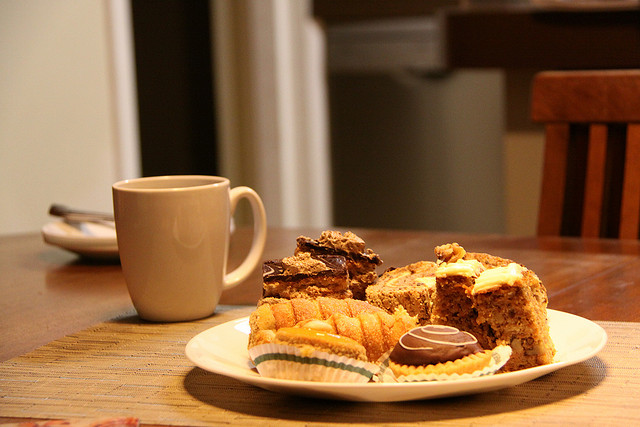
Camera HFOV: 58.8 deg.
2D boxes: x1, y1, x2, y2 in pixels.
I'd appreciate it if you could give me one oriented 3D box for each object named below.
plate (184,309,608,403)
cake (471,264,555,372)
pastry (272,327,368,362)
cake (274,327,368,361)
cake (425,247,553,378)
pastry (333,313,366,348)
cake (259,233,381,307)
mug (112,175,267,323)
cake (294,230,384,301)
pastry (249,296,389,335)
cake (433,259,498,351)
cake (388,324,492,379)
[{"bbox_3d":[0.055,0.150,0.777,0.485,0.086,0.314,-5,6,-22],"label":"plate"},{"bbox_3d":[0.278,0.149,0.848,0.130,0.134,0.121,1,3,17],"label":"cake"},{"bbox_3d":[-0.002,0.164,0.709,0.114,0.036,0.052,-3,12,-5],"label":"pastry"},{"bbox_3d":[0.001,0.155,0.743,0.115,0.038,0.080,-1,6,14],"label":"cake"},{"bbox_3d":[0.248,0.133,0.851,0.123,0.129,0.212,-17,16,-29],"label":"cake"},{"bbox_3d":[0.037,0.152,0.752,0.048,0.036,0.040,11,19,10],"label":"pastry"},{"bbox_3d":[0.014,0.087,0.920,0.128,0.054,0.155,-17,17,-37],"label":"cake"},{"bbox_3d":[-0.230,0.063,1.070,0.308,0.242,0.193,-4,9,-20],"label":"mug"},{"bbox_3d":[0.020,0.084,1.032,0.158,0.091,0.141,19,-16,-12],"label":"cake"},{"bbox_3d":[-0.013,0.127,0.800,0.174,0.044,0.097,-2,6,-34],"label":"pastry"},{"bbox_3d":[0.204,0.140,0.914,0.115,0.178,0.112,-5,3,-4],"label":"cake"},{"bbox_3d":[0.158,0.186,0.747,0.126,0.069,0.129,-7,-4,41],"label":"cake"}]
